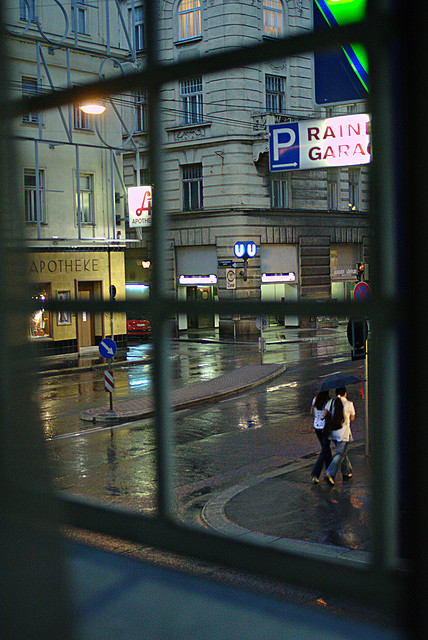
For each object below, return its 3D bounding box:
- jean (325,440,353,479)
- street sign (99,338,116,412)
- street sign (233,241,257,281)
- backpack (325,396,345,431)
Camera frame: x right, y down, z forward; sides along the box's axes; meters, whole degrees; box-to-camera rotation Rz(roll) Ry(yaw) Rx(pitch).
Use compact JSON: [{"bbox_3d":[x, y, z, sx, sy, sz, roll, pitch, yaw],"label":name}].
[{"bbox_3d":[1.541,1.666,10.320,0.278,0.454,0.540,9,-1,15],"label":"jean"},{"bbox_3d":[-1.985,0.996,15.806,0.329,1.519,0.200,1,25,0],"label":"street sign"},{"bbox_3d":[1.287,-2.441,34.476,0.853,1.725,0.533,0,7,5],"label":"street sign"},{"bbox_3d":[1.452,1.124,10.165,0.174,0.400,0.348,9,0,-23],"label":"backpack"}]
